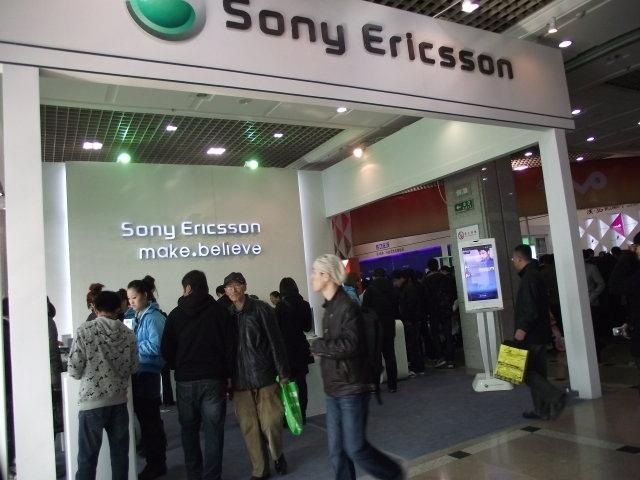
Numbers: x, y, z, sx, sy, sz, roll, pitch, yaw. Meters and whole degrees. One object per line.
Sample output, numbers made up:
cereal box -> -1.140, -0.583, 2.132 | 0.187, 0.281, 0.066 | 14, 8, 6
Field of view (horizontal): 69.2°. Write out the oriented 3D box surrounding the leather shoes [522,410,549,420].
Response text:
leather shoes -> 2.272, 1.826, 4.867 | 0.191, 0.082, 0.099 | -15, -14, 31

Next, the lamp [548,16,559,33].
lamp -> 2.721, -2.498, 5.388 | 0.124, 0.140, 0.122 | 15, -12, -17

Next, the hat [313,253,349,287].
hat -> 0.069, 0.234, 3.437 | 0.269, 0.273, 0.212 | -9, -22, 9

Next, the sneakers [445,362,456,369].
sneakers -> 2.199, 2.066, 7.687 | 0.147, 0.091, 0.098 | -2, 10, 8
